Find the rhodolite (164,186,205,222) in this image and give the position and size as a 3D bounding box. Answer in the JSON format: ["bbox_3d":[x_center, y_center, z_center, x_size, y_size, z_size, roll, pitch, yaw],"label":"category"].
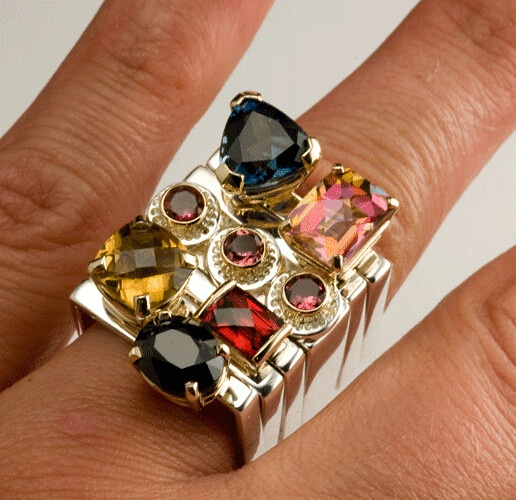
[{"bbox_3d":[-0.145,-0.090,1.385,0.061,0.072,0.046,-6,31,-14],"label":"rhodolite"}]
